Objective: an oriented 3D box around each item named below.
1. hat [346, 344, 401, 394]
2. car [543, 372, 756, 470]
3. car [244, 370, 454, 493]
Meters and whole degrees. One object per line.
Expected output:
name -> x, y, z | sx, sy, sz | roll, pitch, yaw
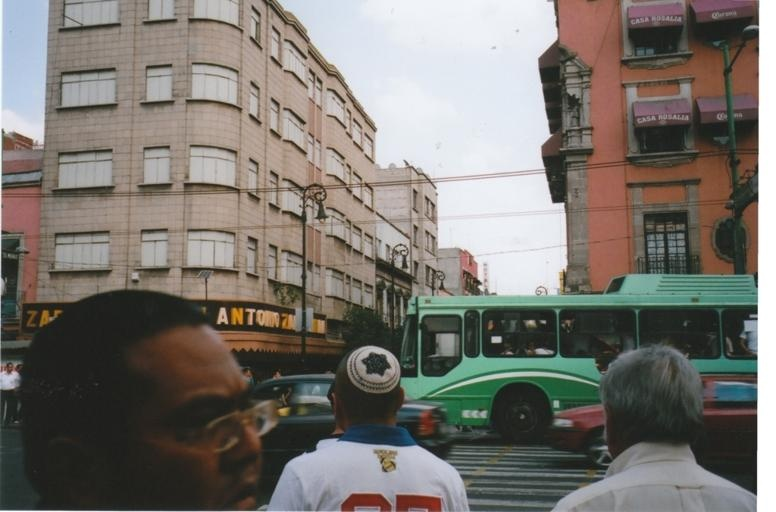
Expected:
hat -> -0.355, 2.689, 27.167 | 1.114, 1.142, 0.295 | -3, -20, -12
car -> 7.622, 4.828, 34.111 | 5.997, 2.018, 2.591 | 0, -7, 10
car -> -1.061, 4.981, 33.935 | 5.877, 2.026, 2.749 | 0, -10, 2
